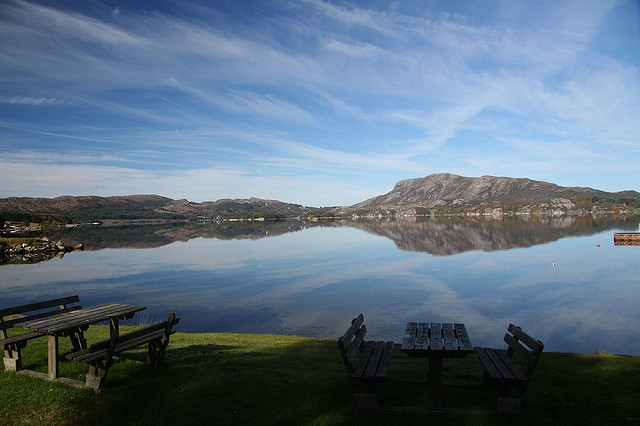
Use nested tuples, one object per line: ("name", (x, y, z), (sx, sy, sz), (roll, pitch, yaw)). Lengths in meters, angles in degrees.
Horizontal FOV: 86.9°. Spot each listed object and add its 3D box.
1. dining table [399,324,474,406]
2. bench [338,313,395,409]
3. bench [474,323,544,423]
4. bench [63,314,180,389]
("dining table", (3.721, 5.154, 11.306), (2.704, 2.372, 2.938), (1, -1, 3))
("bench", (1.794, 5.714, 13.002), (1.695, 1.961, 3.868), (-2, -2, 12))
("bench", (6.591, 5.229, 11.793), (1.684, 2.507, 4.154), (1, -1, 28))
("bench", (-7.165, 5.021, 12.769), (1.693, 1.761, 3.699), (-3, -5, 21))
